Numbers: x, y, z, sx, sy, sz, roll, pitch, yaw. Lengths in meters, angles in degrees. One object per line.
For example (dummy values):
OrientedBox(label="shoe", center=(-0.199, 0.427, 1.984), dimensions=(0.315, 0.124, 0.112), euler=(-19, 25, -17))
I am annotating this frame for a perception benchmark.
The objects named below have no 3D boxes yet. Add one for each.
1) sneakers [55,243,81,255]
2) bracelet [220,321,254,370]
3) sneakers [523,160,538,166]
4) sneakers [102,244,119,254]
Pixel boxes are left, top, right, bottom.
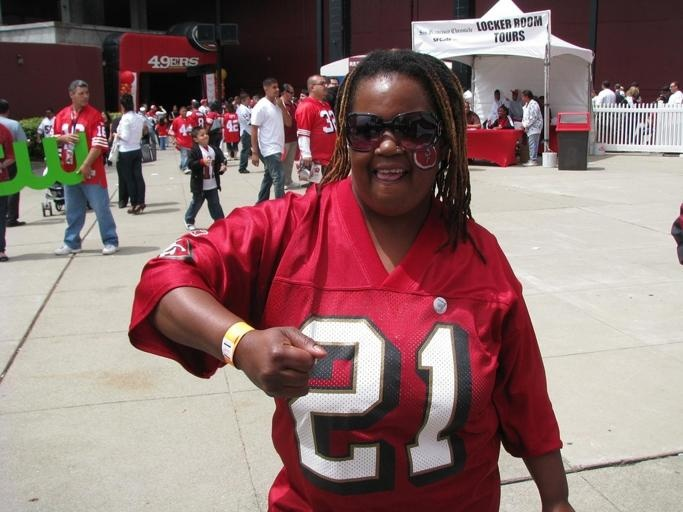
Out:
OrientedBox(label="sneakers", center=(-4.146, -0.089, 7.904), dimensions=(0.423, 0.189, 0.154), euler=(5, 9, -34))
OrientedBox(label="bracelet", center=(-0.232, 0.187, 1.154), dimensions=(0.069, 0.094, 0.126), euler=(-2, 9, -13))
OrientedBox(label="sneakers", center=(5.761, -2.811, 15.750), dimensions=(0.523, 0.235, 0.198), euler=(-3, 16, -20))
OrientedBox(label="sneakers", center=(-3.463, -0.113, 7.820), dimensions=(0.250, 0.151, 0.257), euler=(-7, 10, -36))
